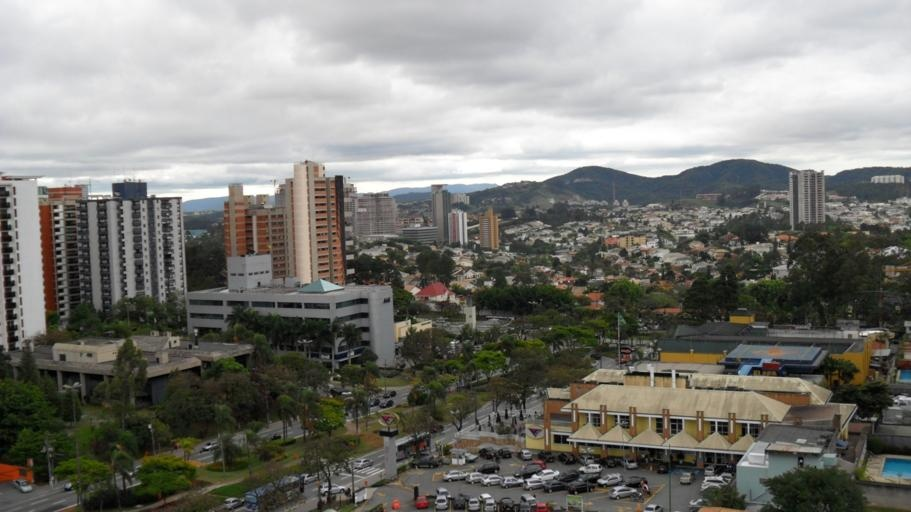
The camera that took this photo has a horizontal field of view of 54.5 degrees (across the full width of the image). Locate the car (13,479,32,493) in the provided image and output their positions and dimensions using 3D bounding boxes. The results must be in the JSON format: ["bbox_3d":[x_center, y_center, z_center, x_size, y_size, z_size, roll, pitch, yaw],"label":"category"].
[{"bbox_3d":[-63.229,33.187,128.769,2.794,0.791,1.360,1,4,41],"label":"car"}]

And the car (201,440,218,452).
[{"bbox_3d":[-38.801,29.858,138.977,2.427,0.879,1.317,3,-2,-22],"label":"car"}]
